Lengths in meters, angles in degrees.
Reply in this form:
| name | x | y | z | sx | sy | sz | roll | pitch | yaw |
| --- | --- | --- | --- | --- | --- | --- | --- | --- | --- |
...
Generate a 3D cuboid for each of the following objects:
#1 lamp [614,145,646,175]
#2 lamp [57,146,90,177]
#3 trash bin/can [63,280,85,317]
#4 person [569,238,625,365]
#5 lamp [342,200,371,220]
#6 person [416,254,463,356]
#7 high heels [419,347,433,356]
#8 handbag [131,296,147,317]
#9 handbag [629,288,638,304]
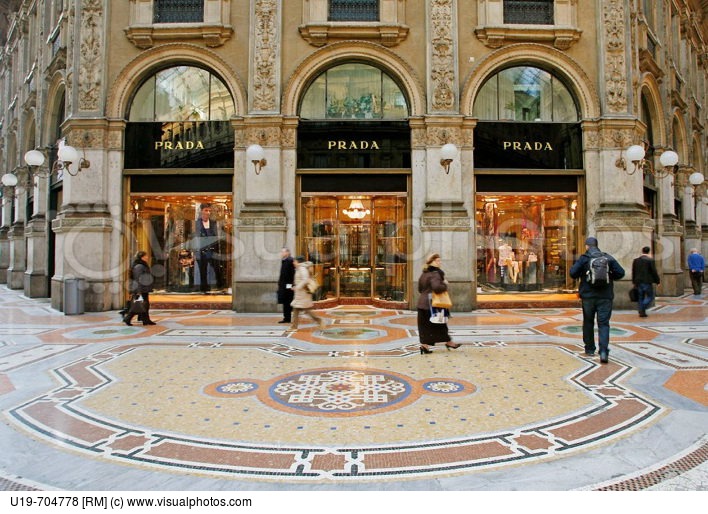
| name | x | y | z | sx | sy | sz | roll | pitch | yaw |
| --- | --- | --- | --- | --- | --- | --- | --- | --- | --- |
| lamp | 9.615 | -3.240 | 22.074 | 1.110 | 1.080 | 0.956 | 0 | 1 | -15 |
| lamp | -9.863 | -3.184 | 22.116 | 1.370 | 0.920 | 0.985 | 0 | 1 | 22 |
| trash bin/can | -9.286 | 1.358 | 21.530 | 0.589 | 1.048 | 0.385 | 0 | 0 | -25 |
| person | 5.971 | 1.065 | 15.992 | 0.986 | 3.146 | 0.695 | 0 | 0 | 43 |
| lamp | 0.068 | -1.576 | 22.912 | 0.745 | 0.622 | 0.745 | 0 | 1 | 15 |
| person | 2.072 | 1.318 | 16.497 | 0.909 | 2.324 | 0.854 | 0 | 0 | 8 |
| high heels | 1.784 | 2.368 | 16.421 | 0.406 | 0.207 | 0.132 | -2 | 2 | -44 |
| handbag | -6.400 | 1.446 | 19.401 | 0.555 | 0.734 | 0.494 | 0 | -8 | -8 |
| handbag | 8.465 | 1.197 | 19.740 | 0.325 | 0.561 | 0.624 | 1 | 0 | 26 |
